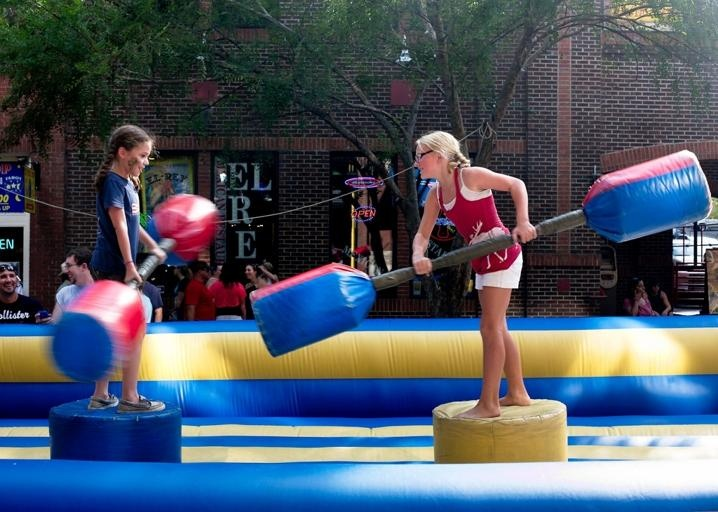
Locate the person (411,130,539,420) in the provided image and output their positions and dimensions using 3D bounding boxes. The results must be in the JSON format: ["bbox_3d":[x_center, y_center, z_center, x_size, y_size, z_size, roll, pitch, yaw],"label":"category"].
[{"bbox_3d":[0.983,0.139,9.484,1.035,2.412,0.584,1,2,3],"label":"person"}]

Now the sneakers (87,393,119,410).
[{"bbox_3d":[-2.188,1.246,9.408,0.265,0.103,0.108,-2,1,-30],"label":"sneakers"}]

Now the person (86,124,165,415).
[{"bbox_3d":[-2.019,0.078,9.534,0.649,2.427,0.786,0,2,-27],"label":"person"}]

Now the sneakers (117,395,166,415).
[{"bbox_3d":[-1.841,1.266,9.352,0.322,0.107,0.156,1,-1,-13],"label":"sneakers"}]
